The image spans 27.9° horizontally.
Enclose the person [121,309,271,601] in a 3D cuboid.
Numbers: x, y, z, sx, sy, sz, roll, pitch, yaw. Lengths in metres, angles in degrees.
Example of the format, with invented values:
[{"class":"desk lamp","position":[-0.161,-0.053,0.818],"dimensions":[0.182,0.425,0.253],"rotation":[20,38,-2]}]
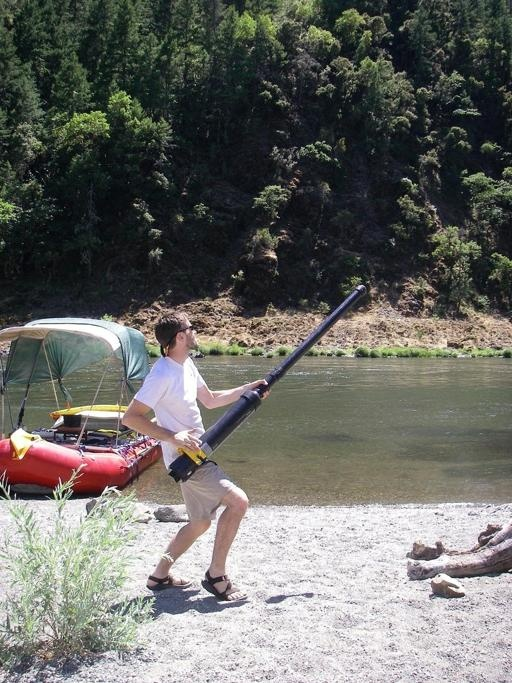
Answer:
[{"class":"person","position":[-0.574,0.994,8.911],"dimensions":[1.055,2.446,0.829],"rotation":[2,2,-1]}]

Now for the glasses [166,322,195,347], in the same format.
[{"class":"glasses","position":[-0.643,-0.048,8.909],"dimensions":[0.073,0.212,0.218],"rotation":[17,-5,9]}]

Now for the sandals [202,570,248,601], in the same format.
[{"class":"sandals","position":[-0.290,2.110,8.901],"dimensions":[0.417,0.184,0.190],"rotation":[25,34,35]}]

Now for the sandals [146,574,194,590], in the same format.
[{"class":"sandals","position":[-0.764,2.109,9.042],"dimensions":[0.371,0.127,0.138],"rotation":[-1,4,-4]}]
